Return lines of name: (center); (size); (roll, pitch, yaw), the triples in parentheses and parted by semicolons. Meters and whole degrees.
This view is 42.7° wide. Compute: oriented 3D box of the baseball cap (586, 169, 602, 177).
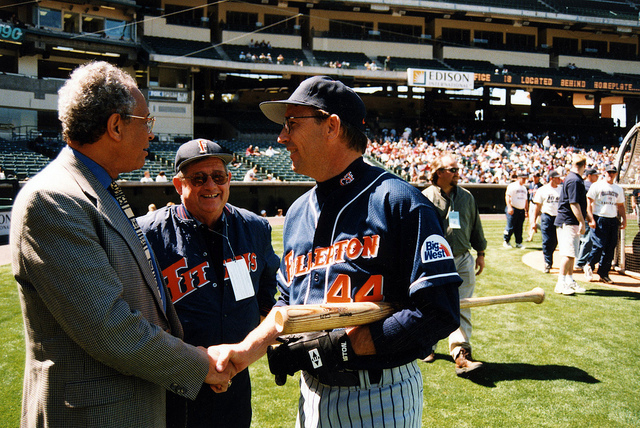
baseball cap: (9.495, -1.419, 28.873); (0.509, 0.233, 0.185); (-2, 7, -28)

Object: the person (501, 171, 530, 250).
person: (7.692, -0.115, 32.675); (0.782, 2.983, 1.294); (7, 9, 44)

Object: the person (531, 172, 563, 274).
person: (8.431, 0.297, 30.170); (1.286, 3.593, 1.023); (2, 0, -29)

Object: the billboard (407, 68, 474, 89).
billboard: (7.377, -8.346, 50.842); (4.095, 1.087, 0.975); (0, 7, -17)
